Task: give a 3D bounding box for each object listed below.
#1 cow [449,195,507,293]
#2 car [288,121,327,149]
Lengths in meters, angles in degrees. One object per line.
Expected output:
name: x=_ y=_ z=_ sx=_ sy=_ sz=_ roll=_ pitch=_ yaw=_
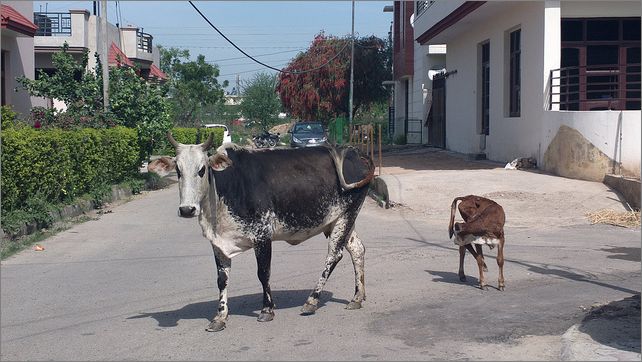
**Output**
cow: x=3.782 y=1.430 z=15.203 sx=1.305 sy=1.990 sz=1.522 roll=1 pitch=8 yaw=5
car: x=-0.760 y=-2.916 z=37.671 sx=1.905 sy=1.476 sz=3.121 roll=-3 pitch=-1 yaw=-4
